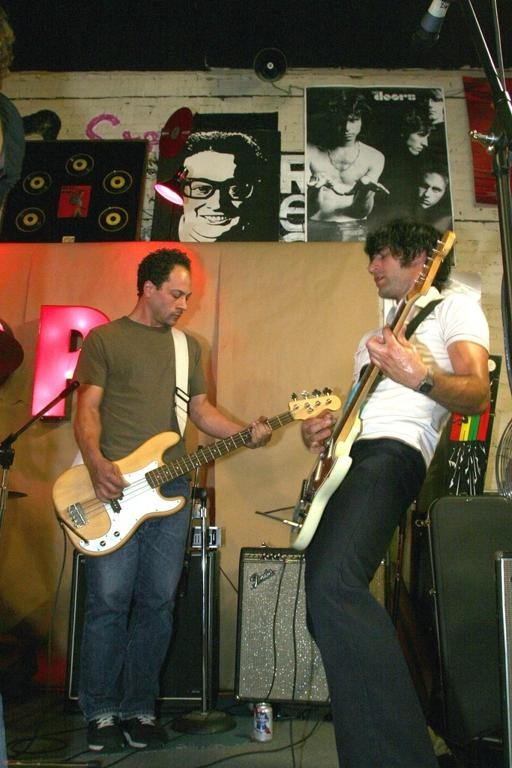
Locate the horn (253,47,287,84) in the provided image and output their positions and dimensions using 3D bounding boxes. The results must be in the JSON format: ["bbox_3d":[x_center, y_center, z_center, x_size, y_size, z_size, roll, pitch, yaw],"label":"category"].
[{"bbox_3d":[0.095,-2.105,4.528,0.204,0.218,0.203,-6,94,10],"label":"horn"}]

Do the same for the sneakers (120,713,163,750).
[{"bbox_3d":[-0.418,1.310,2.587,0.172,0.078,0.078,-19,41,41],"label":"sneakers"}]

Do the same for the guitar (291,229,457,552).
[{"bbox_3d":[0.521,0.276,2.497,0.139,1.121,0.393,-25,43,11],"label":"guitar"}]

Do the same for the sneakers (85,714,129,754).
[{"bbox_3d":[-0.552,1.307,2.570,0.134,0.153,0.127,-6,64,0],"label":"sneakers"}]

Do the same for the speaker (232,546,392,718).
[{"bbox_3d":[0.096,1.072,3.122,0.639,0.424,0.647,9,74,-21],"label":"speaker"}]

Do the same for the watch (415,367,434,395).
[{"bbox_3d":[0.471,-0.003,1.914,0.041,0.065,0.050,20,66,12],"label":"watch"}]
